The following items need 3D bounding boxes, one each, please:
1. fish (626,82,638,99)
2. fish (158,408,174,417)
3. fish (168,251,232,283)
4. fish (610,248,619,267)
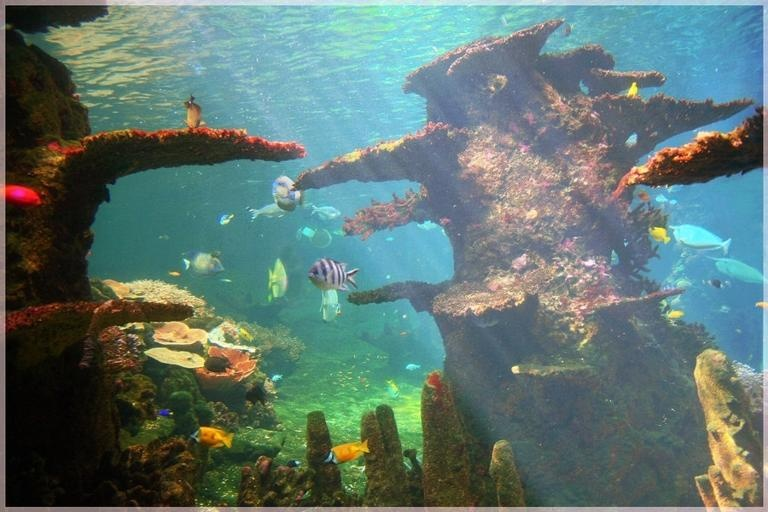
[{"bbox_3d":[8.920,-5.980,24.839,0.376,0.452,1.014,7,28,20],"label":"fish"},{"bbox_3d":[-6.883,5.025,22.240,0.607,0.326,0.170,0,-4,-1],"label":"fish"},{"bbox_3d":[-6.646,0.411,25.657,1.381,1.937,2.278,-10,28,-11],"label":"fish"},{"bbox_3d":[8.815,0.065,26.574,0.181,0.596,0.670,8,4,6],"label":"fish"}]
